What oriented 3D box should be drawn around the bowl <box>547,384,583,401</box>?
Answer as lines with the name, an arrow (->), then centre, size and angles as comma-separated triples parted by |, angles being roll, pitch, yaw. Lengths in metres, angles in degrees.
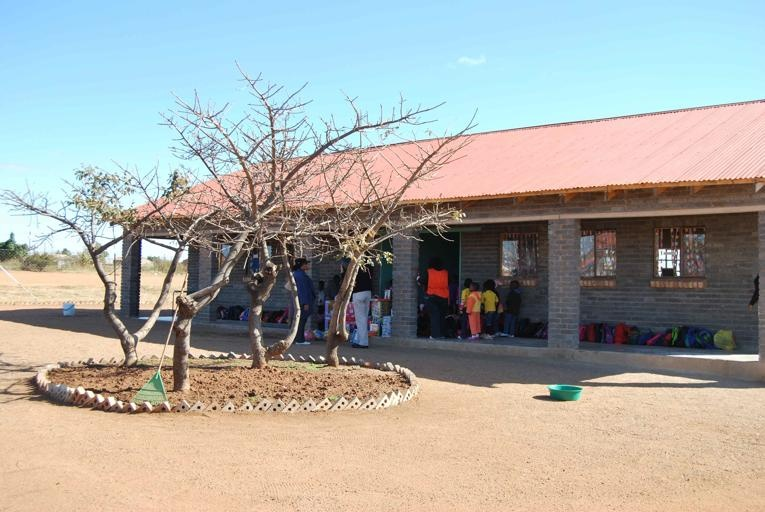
bowl -> 3.175, 2.378, 12.264 | 0.495, 0.233, 0.518 | 2, 11, 0
